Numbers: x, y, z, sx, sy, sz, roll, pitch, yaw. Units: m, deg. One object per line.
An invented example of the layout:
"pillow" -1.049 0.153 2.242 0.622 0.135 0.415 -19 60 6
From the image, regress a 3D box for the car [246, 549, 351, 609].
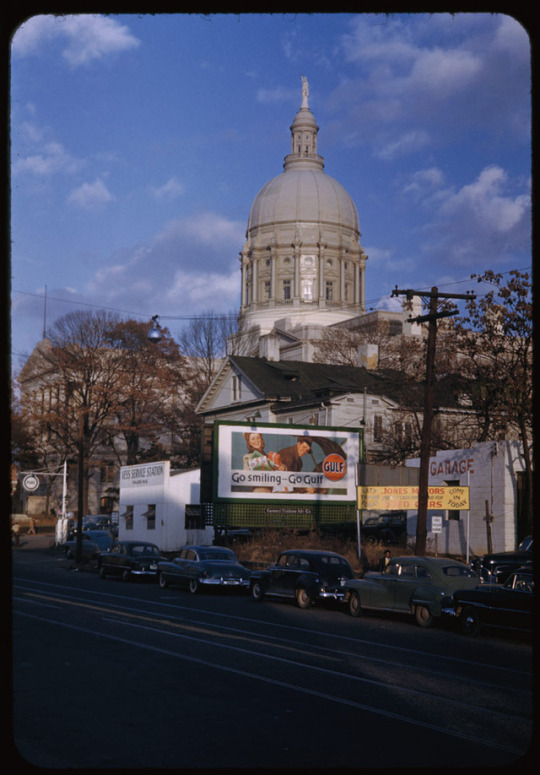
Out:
"car" 0.694 4.172 21.603 0.675 1.225 2.821 4 -8 -34

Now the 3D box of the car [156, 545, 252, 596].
"car" -1.748 4.749 25.909 1.055 0.939 2.489 4 -10 -22

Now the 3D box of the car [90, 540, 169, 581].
"car" -4.285 5.326 30.496 0.991 0.920 2.416 6 -8 -27

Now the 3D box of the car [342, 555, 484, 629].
"car" 2.621 3.733 18.344 1.048 0.930 2.412 5 -8 -34
